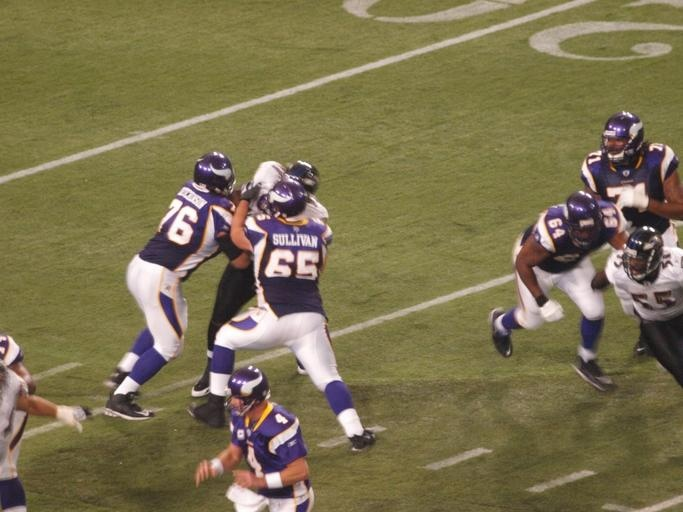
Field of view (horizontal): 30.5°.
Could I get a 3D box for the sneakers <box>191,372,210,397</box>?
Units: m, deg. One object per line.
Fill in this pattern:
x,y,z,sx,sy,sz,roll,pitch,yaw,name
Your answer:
-1.197,1.131,10.687,0.124,0.087,0.267,6,10,-1,sneakers

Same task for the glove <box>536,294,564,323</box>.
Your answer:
1.752,0.461,10.461,0.238,0.097,0.240,-22,61,-11,glove

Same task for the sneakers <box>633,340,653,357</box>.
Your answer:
2.632,0.807,10.878,0.128,0.149,0.162,-6,30,12,sneakers

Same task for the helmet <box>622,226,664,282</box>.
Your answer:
2.376,0.006,9.792,0.337,0.435,0.239,-10,26,9,helmet

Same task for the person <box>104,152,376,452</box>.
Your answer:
-0.423,0.453,10.014,1.441,2.091,1.135,1,30,30,person

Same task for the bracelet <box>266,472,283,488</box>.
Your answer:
-0.467,1.575,8.780,0.175,0.108,0.109,-1,3,5,bracelet

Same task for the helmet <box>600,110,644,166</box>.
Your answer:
2.463,-1.002,10.846,0.373,0.448,0.252,-17,26,-8,helmet

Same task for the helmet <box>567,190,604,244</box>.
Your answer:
1.969,-0.302,10.254,0.392,0.348,0.381,-4,57,5,helmet

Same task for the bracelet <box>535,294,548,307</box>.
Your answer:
1.679,0.376,10.416,0.083,0.075,0.076,-40,49,-11,bracelet
